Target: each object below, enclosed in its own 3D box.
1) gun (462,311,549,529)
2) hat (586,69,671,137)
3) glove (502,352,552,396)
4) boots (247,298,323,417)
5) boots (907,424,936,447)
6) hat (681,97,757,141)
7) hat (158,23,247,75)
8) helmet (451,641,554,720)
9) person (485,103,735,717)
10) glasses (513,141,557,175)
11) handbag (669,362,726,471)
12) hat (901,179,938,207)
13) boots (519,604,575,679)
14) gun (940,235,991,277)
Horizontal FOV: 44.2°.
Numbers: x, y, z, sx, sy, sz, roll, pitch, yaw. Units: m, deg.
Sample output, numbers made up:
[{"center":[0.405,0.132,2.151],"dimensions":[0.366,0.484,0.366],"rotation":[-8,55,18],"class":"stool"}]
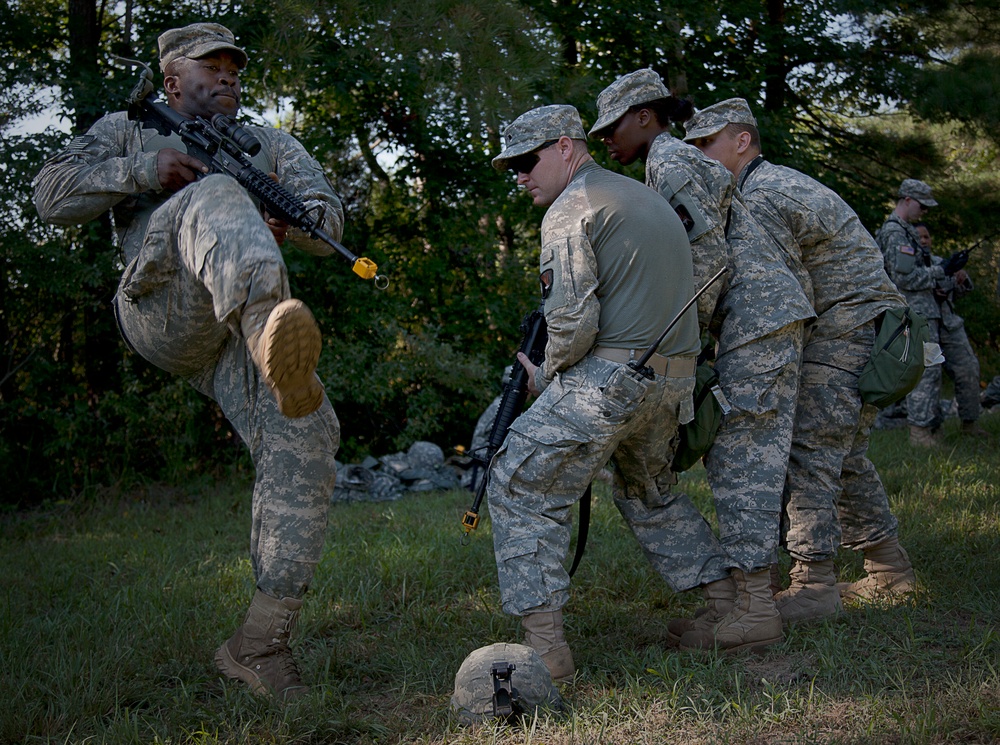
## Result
[{"center":[0.001,0.356,9.446],"dimensions":[0.512,1.885,0.249],"rotation":[2,-23,48],"class":"gun"},{"center":[0.817,-1.757,7.906],"dimensions":[0.471,0.229,0.336],"rotation":[-23,2,7],"class":"hat"},{"center":[0.199,-0.004,7.714],"dimensions":[0.162,0.117,0.421],"rotation":[3,23,-15],"class":"glove"},{"center":[-1.185,-0.177,6.732],"dimensions":[0.282,0.794,0.377],"rotation":[-9,37,-17],"class":"boots"},{"center":[4.466,0.659,13.025],"dimensions":[0.241,0.239,0.221],"rotation":[0,-3,-30],"class":"boots"},{"center":[1.455,-1.632,8.239],"dimensions":[0.405,0.169,0.288],"rotation":[-25,8,-2],"class":"hat"},{"center":[-1.852,-1.979,7.463],"dimensions":[0.411,0.159,0.305],"rotation":[-4,3,32],"class":"hat"},{"center":[0.000,1.717,6.812],"dimensions":[0.414,0.199,0.464],"rotation":[-8,33,3],"class":"helmet"},{"center":[0.511,0.080,7.365],"dimensions":[1.442,3.174,0.838],"rotation":[-10,14,-29],"class":"person"},{"center":[0.204,-1.281,7.536],"dimensions":[0.202,0.062,0.189],"rotation":[-35,9,-22],"class":"glasses"},{"center":[1.228,0.281,7.511],"dimensions":[0.376,0.559,0.550],"rotation":[12,7,23],"class":"handbag"},{"center":[4.287,-1.863,12.722],"dimensions":[0.375,0.207,0.276],"rotation":[10,23,8],"class":"hat"},{"center":[0.253,1.544,7.073],"dimensions":[0.248,0.447,0.329],"rotation":[-23,3,-17],"class":"boots"},{"center":[5.702,-1.445,15.227],"dimensions":[0.157,0.687,0.383],"rotation":[42,18,15],"class":"gun"}]
